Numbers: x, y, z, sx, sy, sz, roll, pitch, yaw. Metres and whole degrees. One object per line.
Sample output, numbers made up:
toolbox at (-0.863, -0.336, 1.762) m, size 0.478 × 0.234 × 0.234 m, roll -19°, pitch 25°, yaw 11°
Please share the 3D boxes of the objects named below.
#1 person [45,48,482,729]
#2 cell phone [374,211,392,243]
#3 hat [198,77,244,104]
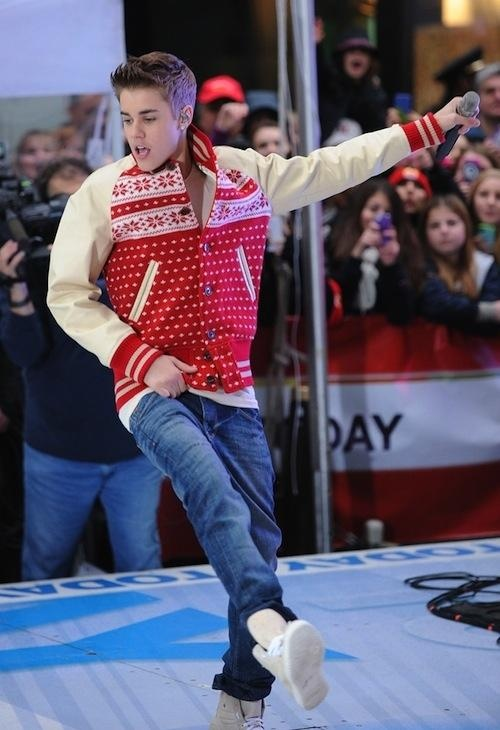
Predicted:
person at (0.041, -0.093, 1.486) m, size 0.587 × 0.962 × 0.563 m, roll -14°, pitch 17°, yaw -35°
cell phone at (0.468, -0.485, 2.821) m, size 0.037 × 0.111 × 0.031 m, roll 1°, pitch 28°, yaw -6°
hat at (-0.097, -0.938, 2.758) m, size 0.138 × 0.061 × 0.094 m, roll -4°, pitch -8°, yaw 30°
